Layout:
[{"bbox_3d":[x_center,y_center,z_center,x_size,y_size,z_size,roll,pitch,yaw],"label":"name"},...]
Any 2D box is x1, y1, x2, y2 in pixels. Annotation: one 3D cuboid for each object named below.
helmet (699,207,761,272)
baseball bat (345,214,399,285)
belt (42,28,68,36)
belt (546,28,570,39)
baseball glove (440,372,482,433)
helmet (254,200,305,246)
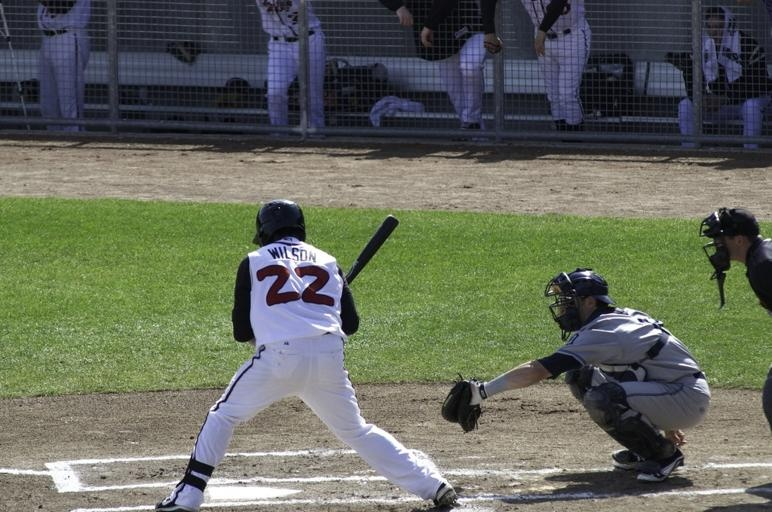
[{"bbox_3d":[3.360,-0.215,16.961,0.651,0.553,0.484,-9,3,11],"label":"helmet"},{"bbox_3d":[-0.189,-0.027,19.552,0.156,1.070,0.191,34,-20,31],"label":"baseball bat"},{"bbox_3d":[-4.820,-3.244,24.539,0.338,0.084,0.068,-1,4,10],"label":"belt"},{"bbox_3d":[2.377,-3.137,23.801,0.262,0.088,0.179,-5,-5,-16],"label":"belt"},{"bbox_3d":[0.785,1.467,16.835,0.414,0.520,0.262,11,-6,46],"label":"baseball glove"},{"bbox_3d":[-1.062,-0.325,16.682,0.410,0.412,0.507,-1,3,-22],"label":"helmet"}]
